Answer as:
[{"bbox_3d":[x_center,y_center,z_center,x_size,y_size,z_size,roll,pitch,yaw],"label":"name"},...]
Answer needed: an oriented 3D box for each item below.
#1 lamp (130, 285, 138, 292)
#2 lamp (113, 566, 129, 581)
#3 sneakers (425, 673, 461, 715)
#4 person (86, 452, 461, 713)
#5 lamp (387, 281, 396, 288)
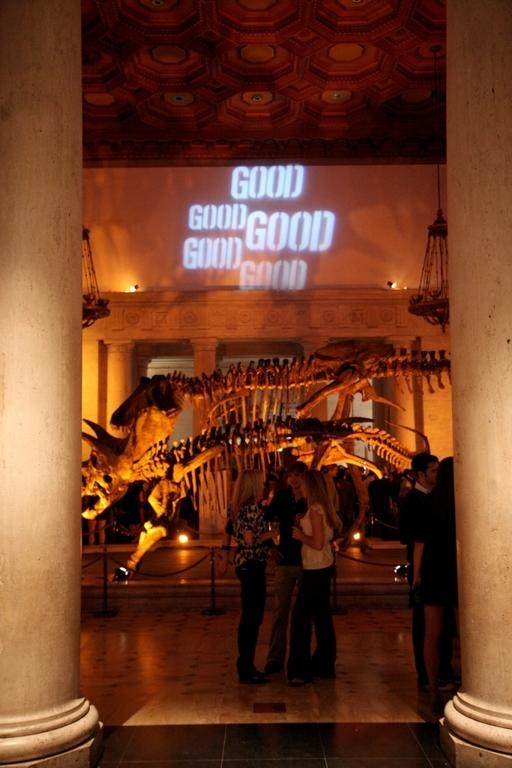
[{"bbox_3d":[-2.244,-1.780,15.042,0.152,0.156,0.150,-2,-5,-6],"label":"lamp"},{"bbox_3d":[-1.404,1.988,8.599,0.192,0.156,0.178,1,1,3],"label":"lamp"},{"bbox_3d":[1.051,1.789,4.662,0.149,0.172,0.455,-23,-28,10],"label":"sneakers"},{"bbox_3d":[0.631,1.246,5.052,1.304,1.240,0.868,-6,-6,35],"label":"person"},{"bbox_3d":[2.507,-1.876,15.147,0.167,0.159,0.134,-3,-5,9],"label":"lamp"}]
